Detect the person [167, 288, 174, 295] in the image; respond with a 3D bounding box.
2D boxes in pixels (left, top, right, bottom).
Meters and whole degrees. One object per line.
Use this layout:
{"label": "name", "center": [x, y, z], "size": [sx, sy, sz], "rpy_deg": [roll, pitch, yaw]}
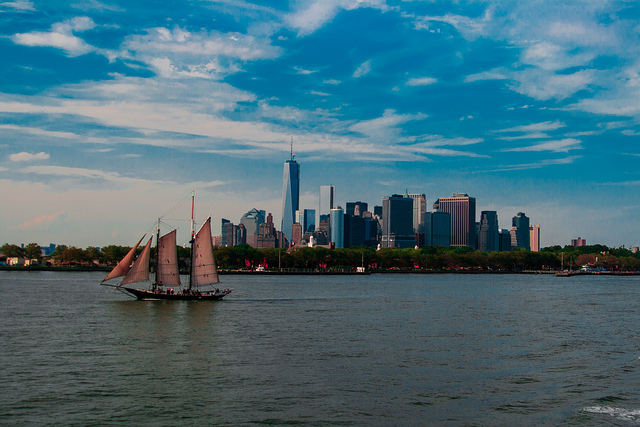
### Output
{"label": "person", "center": [-28.383, 14.929, 177.159], "size": [1.433, 1.147, 0.909], "rpy_deg": [0, -6, 1]}
